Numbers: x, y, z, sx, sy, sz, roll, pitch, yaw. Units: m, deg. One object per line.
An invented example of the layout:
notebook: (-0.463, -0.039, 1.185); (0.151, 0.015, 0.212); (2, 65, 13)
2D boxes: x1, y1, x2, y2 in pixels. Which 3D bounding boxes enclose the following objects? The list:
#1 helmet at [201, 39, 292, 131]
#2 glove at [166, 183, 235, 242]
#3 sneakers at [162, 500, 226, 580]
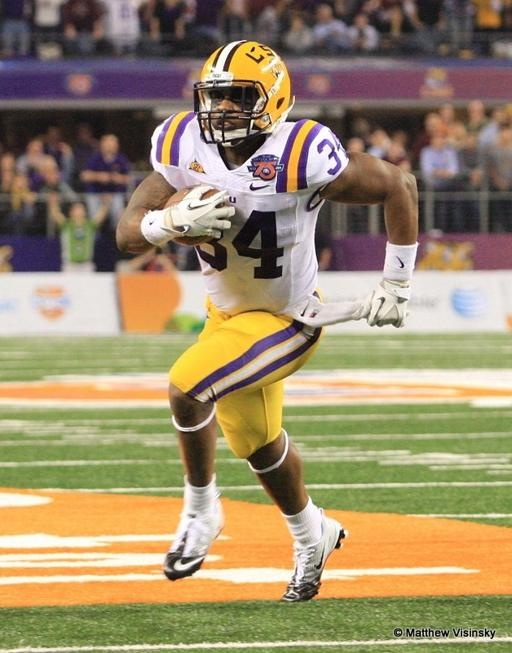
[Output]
helmet: (-0.089, -0.699, 2.781); (0.337, 0.244, 0.337); (3, 31, -3)
glove: (-0.145, -0.300, 2.527); (0.216, 0.132, 0.137); (-23, 2, 9)
sneakers: (-0.169, 0.569, 2.647); (0.121, 0.100, 0.285); (16, 34, 18)
